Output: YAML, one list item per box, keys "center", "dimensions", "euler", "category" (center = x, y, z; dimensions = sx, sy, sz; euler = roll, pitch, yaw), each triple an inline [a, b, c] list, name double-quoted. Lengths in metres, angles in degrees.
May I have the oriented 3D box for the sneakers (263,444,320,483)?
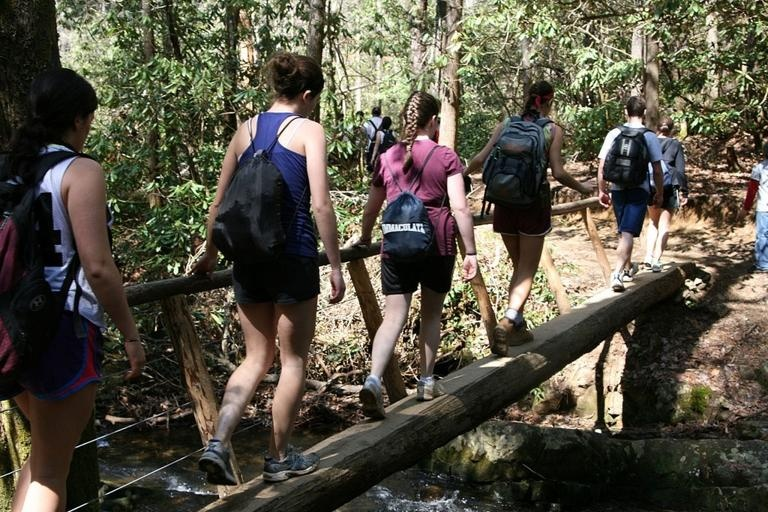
- center: [-0.554, 1.248, 3.845]
  dimensions: [0.367, 0.180, 0.141]
  euler: [-5, 9, -35]
  category: "sneakers"

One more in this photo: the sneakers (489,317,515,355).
- center: [1.045, 0.685, 5.485]
  dimensions: [0.142, 0.378, 0.175]
  euler: [15, 17, 25]
  category: "sneakers"

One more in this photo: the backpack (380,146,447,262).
- center: [0.189, -0.389, 4.506]
  dimensions: [0.397, 0.803, 0.336]
  euler: [3, 11, 8]
  category: "backpack"

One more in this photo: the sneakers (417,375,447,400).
- center: [0.376, 0.990, 4.845]
  dimensions: [0.112, 0.141, 0.290]
  euler: [2, 4, 30]
  category: "sneakers"

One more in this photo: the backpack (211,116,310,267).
- center: [-0.744, -0.385, 3.641]
  dimensions: [0.512, 0.844, 0.344]
  euler: [-1, 11, -8]
  category: "backpack"

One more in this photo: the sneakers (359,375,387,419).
- center: [-0.079, 0.978, 4.416]
  dimensions: [0.195, 0.354, 0.224]
  euler: [0, 12, -6]
  category: "sneakers"

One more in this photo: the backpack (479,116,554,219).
- center: [1.117, -0.798, 5.380]
  dimensions: [0.542, 0.746, 0.262]
  euler: [4, 12, 13]
  category: "backpack"

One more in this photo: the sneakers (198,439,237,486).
- center: [-0.930, 1.182, 3.575]
  dimensions: [0.144, 0.328, 0.153]
  euler: [-3, 49, 18]
  category: "sneakers"

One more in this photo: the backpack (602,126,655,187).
- center: [2.753, -1.123, 7.082]
  dimensions: [0.603, 0.844, 0.463]
  euler: [10, 6, 38]
  category: "backpack"
